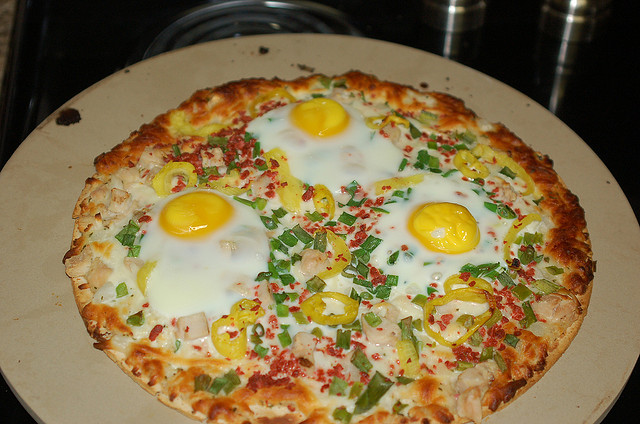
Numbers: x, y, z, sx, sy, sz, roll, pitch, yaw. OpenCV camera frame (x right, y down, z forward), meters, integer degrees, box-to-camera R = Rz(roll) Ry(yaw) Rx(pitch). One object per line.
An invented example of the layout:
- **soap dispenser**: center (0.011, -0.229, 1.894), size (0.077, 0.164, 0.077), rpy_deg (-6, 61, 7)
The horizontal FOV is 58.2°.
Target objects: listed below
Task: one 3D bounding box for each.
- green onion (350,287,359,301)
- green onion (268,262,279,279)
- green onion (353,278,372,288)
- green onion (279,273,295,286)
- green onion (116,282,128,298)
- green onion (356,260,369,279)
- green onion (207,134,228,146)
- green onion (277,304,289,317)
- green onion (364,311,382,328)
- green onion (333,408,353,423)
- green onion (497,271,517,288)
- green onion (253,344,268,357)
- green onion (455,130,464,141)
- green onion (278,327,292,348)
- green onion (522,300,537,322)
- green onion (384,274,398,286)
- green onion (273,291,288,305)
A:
- **green onion**: center (0.349, 0.831, 5.808), size (0.071, 0.023, 0.112), rpy_deg (-6, 53, -5)
- **green onion**: center (-0.485, 0.595, 5.907), size (0.066, 0.021, 0.197), rpy_deg (-8, 58, -27)
- **green onion**: center (0.436, 0.724, 5.865), size (0.226, 0.058, 0.065), rpy_deg (17, 43, 17)
- **green onion**: center (-0.338, 0.689, 5.883), size (0.144, 0.046, 0.102), rpy_deg (-10, 83, -1)
- **green onion**: center (-2.011, 0.786, 5.811), size (0.109, 0.033, 0.131), rpy_deg (-7, 83, -1)
- **green onion**: center (0.431, 0.581, 5.905), size (0.105, 0.039, 0.176), rpy_deg (-42, 84, -5)
- **green onion**: center (-1.208, -0.840, 6.722), size (0.175, 0.051, 0.113), rpy_deg (-10, 54, 4)
- **green onion**: center (-0.381, 0.985, 5.722), size (0.118, 0.030, 0.107), rpy_deg (2, 76, -3)
- **green onion**: center (0.517, 1.062, 5.690), size (0.120, 0.080, 0.153), rpy_deg (-40, 84, -4)
- **green onion**: center (0.208, 1.905, 5.375), size (0.121, 0.040, 0.120), rpy_deg (-4, 65, -3)
- **green onion**: center (1.901, 0.692, 5.885), size (0.102, 0.035, 0.164), rpy_deg (-40, 80, 8)
- **green onion**: center (-0.588, 1.342, 5.611), size (0.130, 0.020, 0.081), rpy_deg (28, 84, 4)
- **green onion**: center (1.674, -0.913, 6.885), size (0.107, 0.034, 0.103), rpy_deg (-2, 51, 5)
- **green onion**: center (-0.349, 1.235, 5.651), size (0.104, 0.043, 0.174), rpy_deg (-26, 83, -3)
- **green onion**: center (2.138, 1.017, 5.856), size (0.107, 0.039, 0.189), rpy_deg (-7, 62, -11)
- **green onion**: center (0.733, 0.697, 5.857), size (0.102, 0.024, 0.095), rpy_deg (5, 82, 6)
- **green onion**: center (-0.398, 0.866, 5.783), size (0.142, 0.059, 0.113), rpy_deg (-8, 83, -1)
